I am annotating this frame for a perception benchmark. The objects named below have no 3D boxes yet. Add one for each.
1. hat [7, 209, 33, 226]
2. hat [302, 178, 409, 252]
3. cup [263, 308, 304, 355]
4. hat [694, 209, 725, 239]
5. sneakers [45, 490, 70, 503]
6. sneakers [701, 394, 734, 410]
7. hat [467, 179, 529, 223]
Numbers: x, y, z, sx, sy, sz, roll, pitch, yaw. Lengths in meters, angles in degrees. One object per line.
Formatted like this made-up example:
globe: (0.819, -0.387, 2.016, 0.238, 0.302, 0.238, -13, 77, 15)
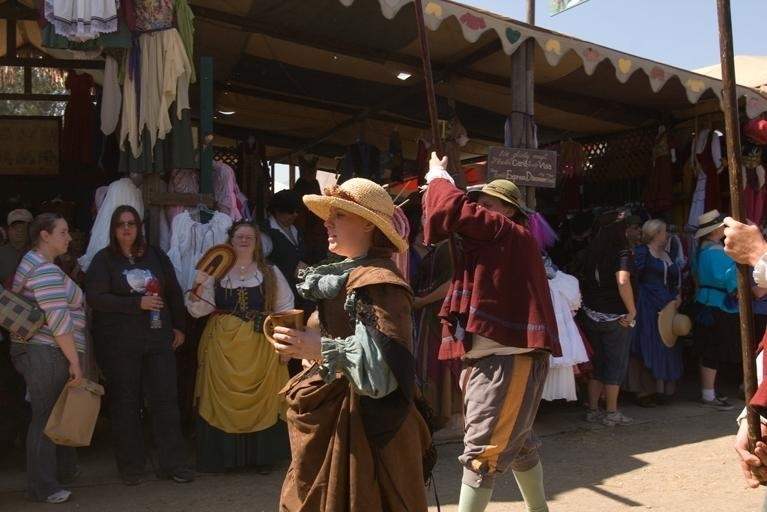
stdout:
hat: (-4.203, -0.440, 10.436, 0.208, 0.157, 0.296, -1, -20, -25)
hat: (-0.214, -0.219, 7.515, 0.666, 0.344, 0.733, 25, -9, 7)
cup: (-0.804, 0.584, 7.434, 0.309, 0.337, 0.220, -12, 4, 2)
hat: (4.214, -0.418, 11.727, 0.334, 0.188, 0.308, -30, 4, -6)
sneakers: (-3.271, 2.400, 9.069, 0.172, 0.077, 0.110, 3, -19, 1)
sneakers: (4.333, 1.873, 11.698, 0.310, 0.141, 0.147, 1, 7, 5)
hat: (1.129, -0.595, 8.555, 0.553, 0.267, 0.530, 16, 2, -4)
